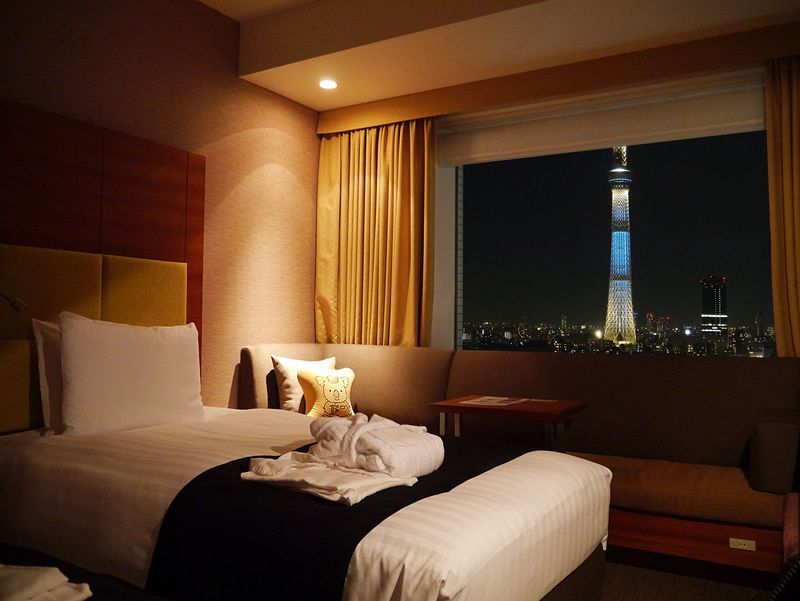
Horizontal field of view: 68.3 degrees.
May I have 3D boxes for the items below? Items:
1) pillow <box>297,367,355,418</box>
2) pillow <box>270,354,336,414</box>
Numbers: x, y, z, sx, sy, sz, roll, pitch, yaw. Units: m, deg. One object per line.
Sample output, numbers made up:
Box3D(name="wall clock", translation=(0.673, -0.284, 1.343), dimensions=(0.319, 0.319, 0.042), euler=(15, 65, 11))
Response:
Box3D(name="pillow", translation=(-0.523, 0.716, 4.187), dimensions=(0.413, 0.402, 0.234), euler=(6, -31, -30))
Box3D(name="pillow", translation=(-0.737, 0.704, 4.458), dimensions=(0.251, 0.570, 0.707), euler=(1, -5, 20))
